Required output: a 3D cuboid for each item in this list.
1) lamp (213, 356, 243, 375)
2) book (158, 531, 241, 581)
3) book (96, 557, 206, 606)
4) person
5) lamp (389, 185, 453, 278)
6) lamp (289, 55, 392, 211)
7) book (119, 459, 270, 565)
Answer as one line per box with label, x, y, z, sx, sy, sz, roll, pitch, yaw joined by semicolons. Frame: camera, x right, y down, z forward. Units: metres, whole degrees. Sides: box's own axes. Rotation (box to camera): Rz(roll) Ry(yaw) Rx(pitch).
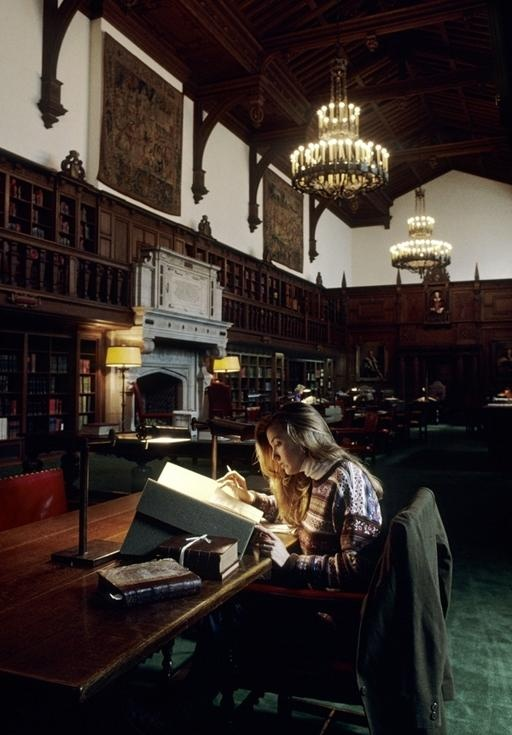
lamp;-0.491;-0.050;9.706;0.365;0.223;0.375;-4;-4;34
book;-0.109;0.397;1.282;0.097;0.041;0.100;5;7;27
book;-0.208;0.415;1.114;0.094;0.024;0.098;0;4;-31
person;0.130;0.502;1.801;0.481;0.733;0.410;0;-6;18
lamp;4.387;-3.635;15.386;1.366;2.383;1.450;2;-3;-34
lamp;1.051;-3.219;7.503;1.249;2.088;1.312;0;-1;-32
book;-0.196;0.331;1.456;0.243;0.112;0.252;20;3;-31
